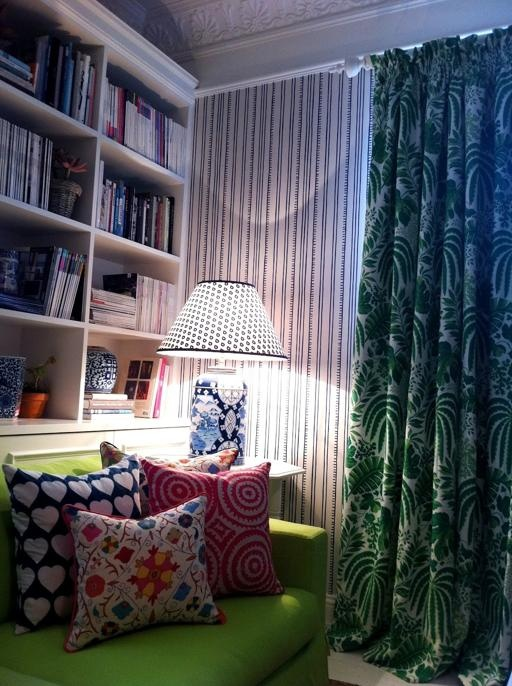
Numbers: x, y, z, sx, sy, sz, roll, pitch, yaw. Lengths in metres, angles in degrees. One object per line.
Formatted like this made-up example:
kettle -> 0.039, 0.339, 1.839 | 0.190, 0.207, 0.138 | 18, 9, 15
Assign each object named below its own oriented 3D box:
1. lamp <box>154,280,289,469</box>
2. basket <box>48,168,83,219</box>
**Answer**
lamp -> -0.099, 0.125, 2.274 | 0.617, 0.841, 0.622 | 2, -5, 6
basket -> -0.729, -0.561, 2.026 | 0.114, 0.152, 0.058 | 9, -8, -34
